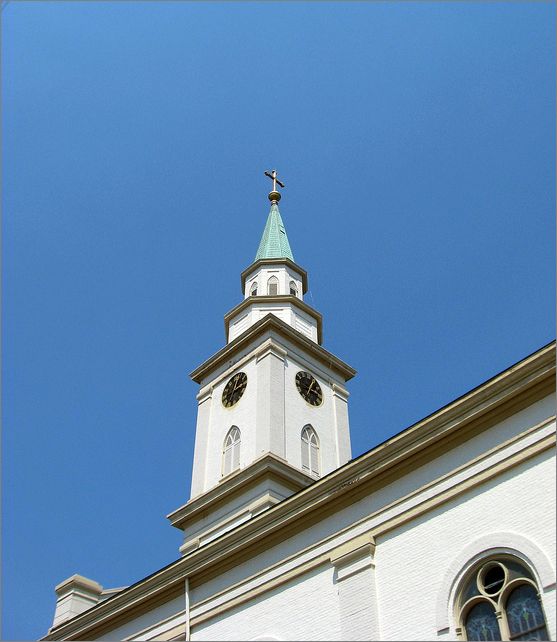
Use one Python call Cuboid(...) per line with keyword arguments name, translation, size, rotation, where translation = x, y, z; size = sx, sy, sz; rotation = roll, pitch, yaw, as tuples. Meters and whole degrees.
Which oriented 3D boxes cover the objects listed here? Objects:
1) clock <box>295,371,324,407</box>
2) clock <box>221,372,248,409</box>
Cuboid(name="clock", translation=(0.973, 2.393, 45.282), size=(0.072, 0.978, 0.914), rotation=(-31, -46, 25))
Cuboid(name="clock", translation=(-1.603, 2.413, 45.535), size=(0.312, 1.656, 1.510), rotation=(18, -49, -23))
